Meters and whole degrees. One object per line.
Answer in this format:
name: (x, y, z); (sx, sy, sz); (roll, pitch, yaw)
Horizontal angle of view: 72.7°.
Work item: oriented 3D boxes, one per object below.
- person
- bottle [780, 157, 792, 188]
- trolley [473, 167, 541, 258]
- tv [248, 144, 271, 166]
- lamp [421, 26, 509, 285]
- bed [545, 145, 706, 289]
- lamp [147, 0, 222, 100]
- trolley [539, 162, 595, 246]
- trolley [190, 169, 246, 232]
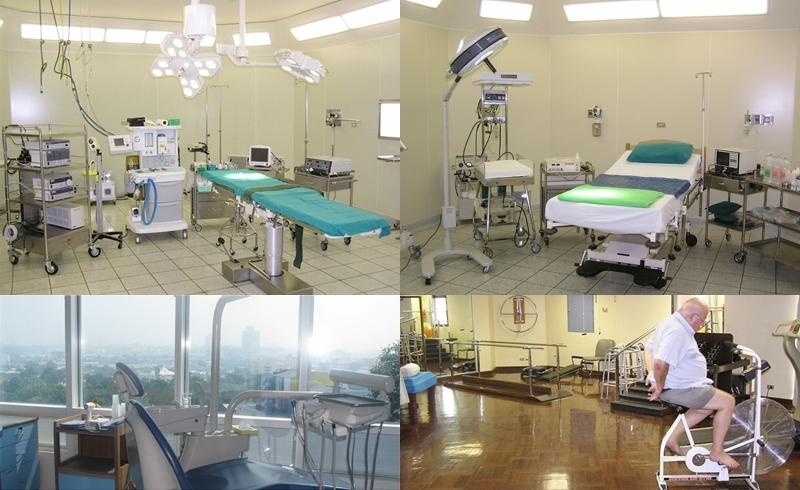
person: (3.251, 1.532, 6.020); (0.910, 1.858, 0.467); (2, 10, 19)
bottle: (5.149, -0.955, 7.273); (0.144, 0.373, 0.290); (5, 11, 33)
trolley: (1.474, -0.620, 8.002); (0.995, 1.274, 1.005); (6, -3, 4)
tv: (-2.604, -1.632, 10.424); (0.555, 0.510, 0.340); (0, 1, 0)
lamp: (0.836, -1.173, 7.458); (1.092, 3.231, 1.170); (-1, 9, 1)
bed: (3.325, -0.522, 7.653); (1.493, 1.527, 2.667); (8, 21, 38)
lamp: (-2.545, -2.364, 6.633); (0.925, 1.055, 0.619); (6, 11, 36)
trolley: (2.596, -0.686, 8.374); (0.808, 1.128, 0.744); (3, 16, 20)
trolley: (-3.324, -0.835, 9.680); (0.814, 0.935, 0.554); (-3, 6, -26)
